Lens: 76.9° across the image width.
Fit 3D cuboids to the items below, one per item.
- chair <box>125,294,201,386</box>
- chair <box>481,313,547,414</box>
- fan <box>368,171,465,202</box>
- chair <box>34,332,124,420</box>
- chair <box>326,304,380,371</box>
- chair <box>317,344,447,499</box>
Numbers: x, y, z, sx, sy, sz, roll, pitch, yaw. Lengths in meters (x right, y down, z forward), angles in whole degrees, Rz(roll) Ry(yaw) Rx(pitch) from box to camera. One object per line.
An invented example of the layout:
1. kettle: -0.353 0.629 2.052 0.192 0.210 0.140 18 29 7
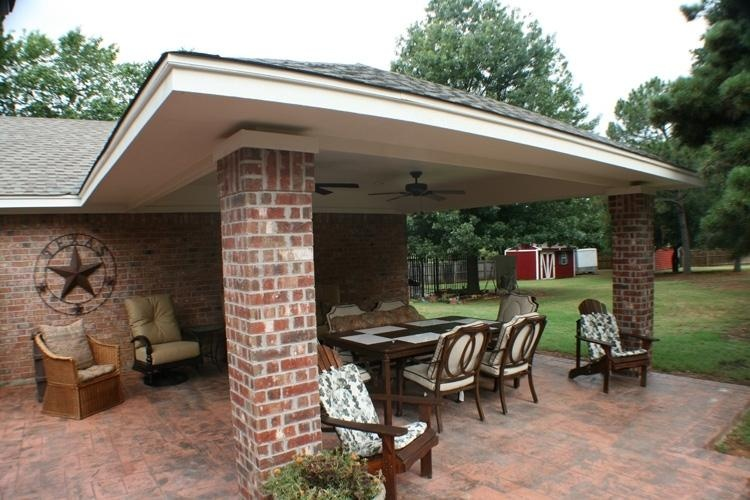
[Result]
1. chair: -4.198 1.735 9.312 1.208 1.643 1.181 -2 2 -28
2. chair: 2.270 1.766 7.719 0.931 1.555 1.081 0 1 26
3. fan: 0.686 -1.136 8.881 1.013 0.206 0.906 -2 -1 -42
4. chair: -4.976 2.136 7.973 0.906 1.184 0.895 0 2 32
5. chair: -0.167 1.479 9.107 0.986 1.301 1.023 1 -6 -37
6. chair: -0.149 2.048 6.276 2.113 1.501 1.499 1 3 36
